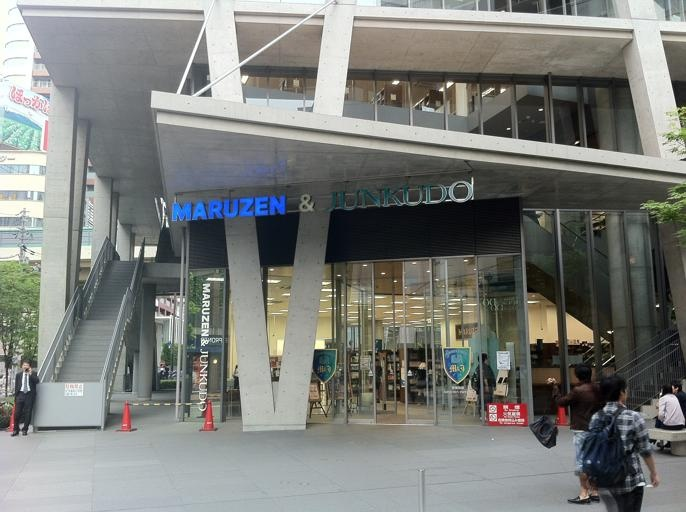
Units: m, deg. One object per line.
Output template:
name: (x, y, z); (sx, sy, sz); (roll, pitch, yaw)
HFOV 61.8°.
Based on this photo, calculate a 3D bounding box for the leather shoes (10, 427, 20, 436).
leather shoes: (-9.573, 5.137, 16.789); (0.193, 0.152, 0.302); (6, -14, -31)

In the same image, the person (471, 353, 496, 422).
person: (4.544, 4.166, 18.518); (0.770, 2.053, 0.319); (-4, -12, 11)

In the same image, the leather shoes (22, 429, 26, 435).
leather shoes: (-9.369, 5.181, 16.949); (0.110, 0.176, 0.183); (4, -17, -24)

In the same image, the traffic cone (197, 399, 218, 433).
traffic cone: (-4.212, 5.137, 18.550); (0.772, 1.111, 0.766); (-8, -11, 40)

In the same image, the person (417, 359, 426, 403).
person: (2.610, 4.104, 18.846); (0.367, 1.303, 0.221); (-5, -12, 18)

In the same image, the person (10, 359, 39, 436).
person: (-9.467, 4.168, 17.163); (0.632, 2.211, 1.319); (5, -13, -28)

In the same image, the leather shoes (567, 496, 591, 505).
leather shoes: (4.134, 4.269, 10.108); (0.386, 0.140, 0.144); (2, -23, 6)
